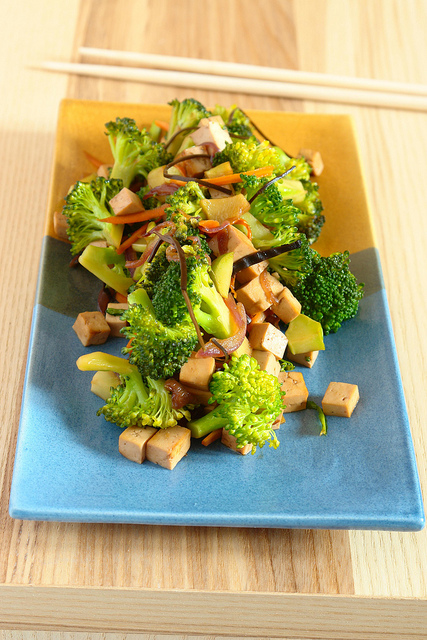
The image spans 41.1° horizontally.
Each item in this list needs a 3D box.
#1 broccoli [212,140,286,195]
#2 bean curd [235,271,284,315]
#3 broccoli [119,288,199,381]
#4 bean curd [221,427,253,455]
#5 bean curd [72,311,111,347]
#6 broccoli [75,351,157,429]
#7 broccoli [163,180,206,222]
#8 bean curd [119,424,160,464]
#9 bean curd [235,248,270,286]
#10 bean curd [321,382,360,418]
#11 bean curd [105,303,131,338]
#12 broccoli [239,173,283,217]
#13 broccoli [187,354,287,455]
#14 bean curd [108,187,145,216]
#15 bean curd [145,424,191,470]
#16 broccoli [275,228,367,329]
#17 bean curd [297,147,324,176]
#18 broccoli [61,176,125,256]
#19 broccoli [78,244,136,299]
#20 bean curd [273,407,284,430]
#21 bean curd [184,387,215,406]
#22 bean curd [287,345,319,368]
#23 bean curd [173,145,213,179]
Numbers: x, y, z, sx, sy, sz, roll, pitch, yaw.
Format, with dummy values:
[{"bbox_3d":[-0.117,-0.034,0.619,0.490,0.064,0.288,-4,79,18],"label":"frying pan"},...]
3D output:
[{"bbox_3d":[0.113,-0.554,2.064,0.211,0.233,0.199,-17,31,-32],"label":"broccoli"},{"bbox_3d":[0.143,-0.083,1.856,0.129,0.086,0.070,-37,12,-33],"label":"bean curd"},{"bbox_3d":[-0.166,0.061,1.639,0.166,0.236,0.200,-11,32,-13],"label":"broccoli"},{"bbox_3d":[0.053,0.345,1.623,0.079,0.048,0.078,31,4,12],"label":"bean curd"},{"bbox_3d":[-0.405,0.010,1.917,0.140,0.098,0.157,-10,24,-19],"label":"bean curd"},{"bbox_3d":[-0.264,0.199,1.688,0.233,0.083,0.288,-11,48,-31],"label":"broccoli"},{"bbox_3d":[-0.077,-0.377,1.829,0.112,0.139,0.131,3,23,11],"label":"broccoli"},{"bbox_3d":[-0.215,0.334,1.548,0.111,0.084,0.106,-12,28,-19],"label":"bean curd"},{"bbox_3d":[0.114,-0.153,1.882,0.127,0.115,0.032,-25,66,-33],"label":"bean curd"},{"bbox_3d":[0.376,0.235,1.682,0.100,0.063,0.098,1,47,29],"label":"bean curd"},{"bbox_3d":[-0.327,0.004,1.981,0.121,0.110,0.074,3,16,1],"label":"bean curd"},{"bbox_3d":[0.153,-0.405,1.863,0.080,0.130,0.109,18,28,36],"label":"broccoli"},{"bbox_3d":[0.073,0.239,1.611,0.270,0.194,0.277,12,48,3],"label":"broccoli"},{"bbox_3d":[-0.311,-0.405,2.046,0.101,0.075,0.098,-35,60,14],"label":"bean curd"},{"bbox_3d":[-0.121,0.338,1.566,0.094,0.095,0.126,25,50,14],"label":"bean curd"},{"bbox_3d":[0.325,-0.137,2.016,0.284,0.158,0.348,28,36,-34],"label":"broccoli"},{"bbox_3d":[0.400,-0.634,2.319,0.032,0.111,0.112,-16,59,17],"label":"bean curd"},{"bbox_3d":[-0.416,-0.383,2.122,0.216,0.298,0.212,-18,28,-16],"label":"broccoli"},{"bbox_3d":[-0.377,-0.178,2.010,0.202,0.054,0.193,32,41,-18],"label":"broccoli"},{"bbox_3d":[0.186,0.289,1.660,0.016,0.057,0.062,10,24,10],"label":"bean curd"},{"bbox_3d":[-0.034,0.227,1.683,0.066,0.057,0.016,11,38,31],"label":"bean curd"},{"bbox_3d":[0.291,0.127,1.875,0.075,0.047,0.074,19,47,38],"label":"bean curd"},{"bbox_3d":[-0.057,-0.541,2.011,0.091,0.122,0.148,14,32,25],"label":"bean curd"}]
